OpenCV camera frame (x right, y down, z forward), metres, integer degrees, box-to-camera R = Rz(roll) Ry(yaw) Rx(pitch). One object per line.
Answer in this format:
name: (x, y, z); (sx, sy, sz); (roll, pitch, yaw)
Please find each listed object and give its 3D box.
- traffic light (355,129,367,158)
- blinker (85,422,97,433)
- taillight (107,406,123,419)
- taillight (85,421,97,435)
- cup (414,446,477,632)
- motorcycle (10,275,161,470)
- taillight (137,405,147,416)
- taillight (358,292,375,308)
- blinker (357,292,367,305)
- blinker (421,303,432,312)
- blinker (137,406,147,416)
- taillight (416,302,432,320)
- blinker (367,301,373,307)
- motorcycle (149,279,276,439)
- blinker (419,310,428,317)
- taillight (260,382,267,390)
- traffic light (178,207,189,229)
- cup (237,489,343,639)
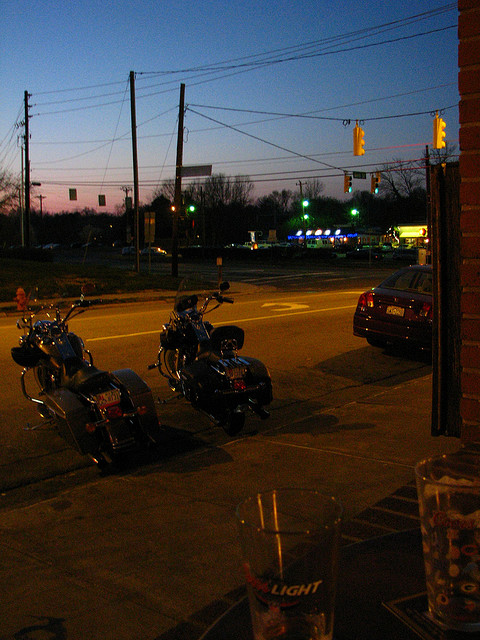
traffic light: (4.806, -7.192, 21.273); (0.337, 1.285, 1.427); (-2, 4, 11)
blinker: (-1.370, 0.981, 4.825); (0.082, 0.089, 0.057); (-2, 3, 18)
taillight: (-1.185, 0.867, 4.961); (0.133, 0.115, 0.030); (-4, 3, -19)
taillight: (-1.366, 0.982, 4.810); (0.090, 0.110, 0.074); (0, -13, -2)
cup: (0.395, 0.417, 0.989); (0.117, 0.322, 0.263); (-2, 3, 18)
motorcycle: (-1.893, 0.523, 5.824); (1.048, 1.557, 2.720); (-16, 23, -37)
taillight: (-0.953, 0.870, 5.117); (0.049, 0.100, 0.037); (2, -4, -6)
taillight: (2.453, -0.391, 10.274); (0.144, 0.282, 0.504); (-3, 4, -19)
blinker: (2.403, -0.418, 10.396); (0.133, 0.186, 0.193); (-1, 5, 0)
blinker: (3.275, -0.222, 9.264); (0.131, 0.157, 0.033); (6, 1, 19)
blinker: (-0.956, 0.872, 5.114); (0.072, 0.081, 0.079); (-6, 12, -18)
taillight: (3.241, -0.171, 9.275); (0.228, 0.502, 0.274); (-2, 2, 22)
blinker: (2.495, -0.315, 10.144); (0.118, 0.077, 0.081); (-2, -8, 41)
motorcycle: (-0.382, 0.416, 6.492); (1.071, 1.725, 1.648); (-3, 3, -15)
blinker: (3.227, -0.117, 9.265); (0.094, 0.112, 0.024); (6, -1, 27)
taillight: (0.247, 0.727, 5.834); (0.061, 0.071, 0.018); (31, 7, 1)
traffic light: (-3.381, -6.065, 31.454); (0.506, 1.303, 1.433); (-2, 4, 11)
cup: (0.095, 0.418, 0.916); (0.200, 0.211, 0.184); (-3, 3, 0)
